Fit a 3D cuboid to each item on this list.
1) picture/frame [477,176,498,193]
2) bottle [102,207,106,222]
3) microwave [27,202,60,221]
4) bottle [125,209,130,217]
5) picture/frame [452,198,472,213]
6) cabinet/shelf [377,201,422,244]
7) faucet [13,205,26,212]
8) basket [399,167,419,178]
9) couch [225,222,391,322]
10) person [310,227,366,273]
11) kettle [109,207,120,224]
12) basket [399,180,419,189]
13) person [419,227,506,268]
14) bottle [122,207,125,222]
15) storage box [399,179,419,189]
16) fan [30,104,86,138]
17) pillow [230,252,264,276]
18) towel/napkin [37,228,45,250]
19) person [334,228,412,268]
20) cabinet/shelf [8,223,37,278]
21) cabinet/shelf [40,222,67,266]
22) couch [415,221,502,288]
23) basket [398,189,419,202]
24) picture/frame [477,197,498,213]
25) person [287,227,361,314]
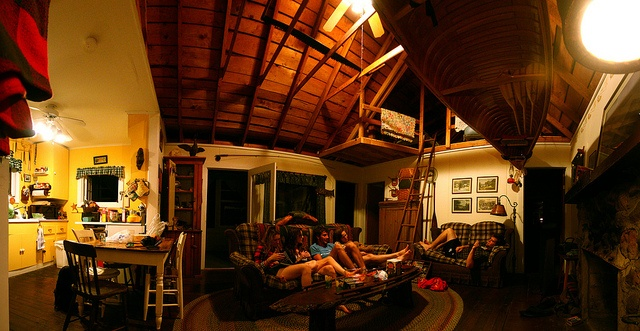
[{"bbox_3d":[4.281,0.482,10.252,0.450,0.373,0.031,1,-6,29],"label":"picture/frame"},{"bbox_3d":[-5.278,1.215,9.867,0.115,0.301,0.202,7,-12,-31],"label":"bottle"},{"bbox_3d":[-6.767,1.111,9.888,0.588,0.358,0.386,6,-5,-12],"label":"microwave"},{"bbox_3d":[-4.460,1.089,9.351,0.100,0.163,0.306,6,-12,-25],"label":"bottle"},{"bbox_3d":[3.713,1.038,10.466,0.451,0.340,0.033,-1,-15,29],"label":"picture/frame"},{"bbox_3d":[2.172,1.521,10.733,0.640,1.579,1.061,17,-17,-33],"label":"cabinet/shelf"},{"bbox_3d":[-7.283,1.042,9.839,0.088,0.150,0.243,-2,-11,13],"label":"faucet"},{"bbox_3d":[2.327,0.198,10.828,0.388,0.250,0.244,3,9,11],"label":"basket"},{"bbox_3d":[-0.333,1.981,8.191,2.734,1.719,1.485,0,-8,-15],"label":"couch"},{"bbox_3d":[0.407,1.727,8.328,1.349,0.794,0.648,-13,-13,41],"label":"person"},{"bbox_3d":[-4.893,1.197,9.671,0.362,0.345,0.346,0,3,-33],"label":"kettle"},{"bbox_3d":[2.398,0.513,11.190,0.106,0.295,0.355,9,-8,-42],"label":"basket"},{"bbox_3d":[3.340,1.929,9.521,2.103,0.908,1.125,-5,4,35],"label":"person"},{"bbox_3d":[-4.548,1.153,9.387,0.079,0.292,0.214,6,-12,-27],"label":"bottle"},{"bbox_3d":[2.392,0.514,11.194,0.107,0.303,0.362,9,-9,-41],"label":"storage box"},{"bbox_3d":[-5.590,-1.028,8.531,0.972,0.436,0.924,-5,-10,-9],"label":"fan"},{"bbox_3d":[-1.369,1.824,7.571,0.487,0.387,0.794,6,-12,-27],"label":"pillow"},{"bbox_3d":[-6.619,1.755,9.589,0.137,0.523,0.239,5,-12,-22],"label":"towel/napkin"},{"bbox_3d":[0.966,1.783,8.861,2.072,0.991,0.664,-3,2,-1],"label":"person"},{"bbox_3d":[-6.762,1.822,9.245,0.236,1.146,0.771,-2,-11,13],"label":"cabinet/shelf"},{"bbox_3d":[-6.813,1.908,10.023,0.565,0.987,0.932,-1,-6,1],"label":"cabinet/shelf"},{"bbox_3d":[3.446,1.984,9.620,2.143,1.299,1.182,-4,-5,37],"label":"couch"},{"bbox_3d":[2.280,0.774,10.883,0.311,0.381,0.114,5,-20,37],"label":"basket"},{"bbox_3d":[4.235,0.990,10.148,0.445,0.339,0.037,4,-11,33],"label":"picture/frame"},{"bbox_3d":[0.259,1.783,7.771,0.617,1.165,1.195,-18,-10,-17],"label":"person"}]
